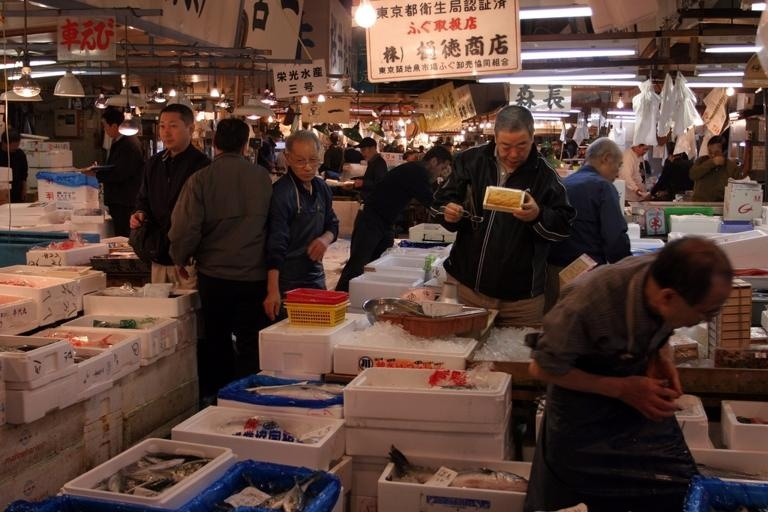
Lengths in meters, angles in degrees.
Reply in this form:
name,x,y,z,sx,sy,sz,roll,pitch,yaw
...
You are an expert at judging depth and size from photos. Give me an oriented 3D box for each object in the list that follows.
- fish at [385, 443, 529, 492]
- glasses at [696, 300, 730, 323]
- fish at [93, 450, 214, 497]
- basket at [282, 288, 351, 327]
name,x,y,z,sx,sy,sz,roll,pitch,yaw
fish,0.405,1.227,3.617,0.613,0.112,0.222,0,10,7
glasses,1.498,0.249,2.864,0.084,0.103,0.174,8,13,39
fish,-1.208,1.150,3.304,0.254,0.057,0.258,4,11,24
basket,-0.489,0.370,4.607,0.379,0.155,0.266,0,5,9
